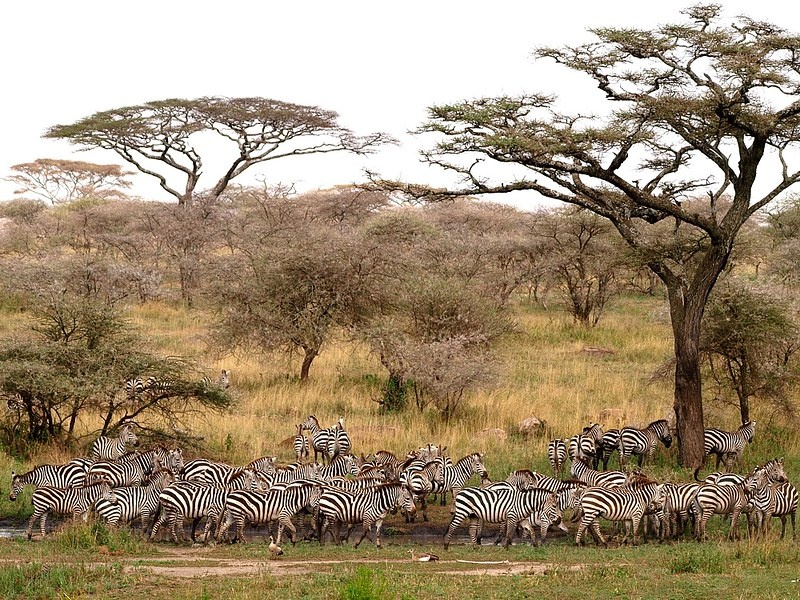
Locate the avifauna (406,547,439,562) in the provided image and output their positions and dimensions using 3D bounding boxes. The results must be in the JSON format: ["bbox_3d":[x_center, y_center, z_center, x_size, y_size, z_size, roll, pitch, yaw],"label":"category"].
[{"bbox_3d":[0.546,5.906,35.255,0.668,0.449,0.266,-3,-14,12],"label":"avifauna"}]

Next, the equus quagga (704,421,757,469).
[{"bbox_3d":[8.666,3.876,40.499,1.977,1.356,0.557,0,7,-18],"label":"equus quagga"}]

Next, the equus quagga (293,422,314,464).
[{"bbox_3d":[-2.652,3.886,40.993,0.443,0.984,1.429,0,3,-10],"label":"equus quagga"}]

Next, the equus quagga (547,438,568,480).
[{"bbox_3d":[4.230,4.052,40.509,0.443,1.070,1.690,-2,7,9],"label":"equus quagga"}]

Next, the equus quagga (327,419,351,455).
[{"bbox_3d":[-1.712,3.901,40.944,0.581,1.127,1.869,2,6,-6],"label":"equus quagga"}]

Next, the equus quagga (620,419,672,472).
[{"bbox_3d":[6.565,3.869,40.289,1.776,1.307,0.524,-1,-3,-25],"label":"equus quagga"}]
